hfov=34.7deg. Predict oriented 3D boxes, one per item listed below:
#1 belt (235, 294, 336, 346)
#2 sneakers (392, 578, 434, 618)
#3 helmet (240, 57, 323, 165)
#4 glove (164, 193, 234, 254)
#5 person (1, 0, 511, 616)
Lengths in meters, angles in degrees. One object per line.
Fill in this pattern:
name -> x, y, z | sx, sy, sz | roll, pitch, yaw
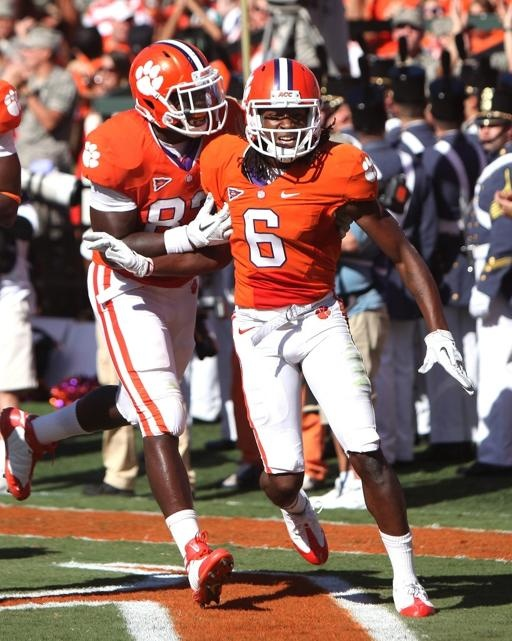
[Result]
belt -> 0.096, -0.004, 2.574 | 0.246, 0.061, 0.161 | -22, -4, 15
sneakers -> 0.445, 0.809, 2.368 | 0.125, 0.096, 0.114 | -1, 12, 21
helmet -> 0.074, -0.632, 2.462 | 0.225, 0.311, 0.225 | -4, 12, 9
glove -> -0.184, -0.302, 2.638 | 0.233, 0.185, 0.080 | 16, 24, 19
person -> 0.205, 0.051, 2.581 | 0.417, 1.735, 0.920 | -19, 17, -41
